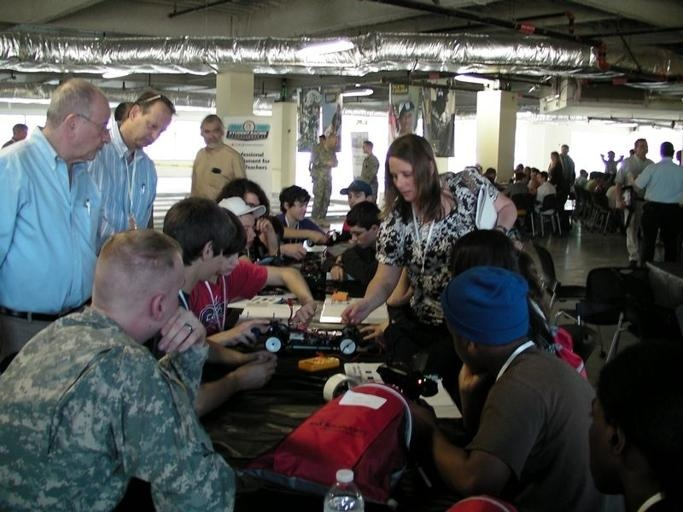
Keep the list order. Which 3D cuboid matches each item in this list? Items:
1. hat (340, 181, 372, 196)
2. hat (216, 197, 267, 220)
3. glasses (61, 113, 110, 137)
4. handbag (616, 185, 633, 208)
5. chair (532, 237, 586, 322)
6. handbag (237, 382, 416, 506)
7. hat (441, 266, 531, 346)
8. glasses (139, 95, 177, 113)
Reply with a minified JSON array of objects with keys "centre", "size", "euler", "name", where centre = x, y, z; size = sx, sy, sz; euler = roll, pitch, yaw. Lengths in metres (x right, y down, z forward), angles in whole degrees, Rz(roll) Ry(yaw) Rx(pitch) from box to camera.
[{"centre":[0.145,-0.624,5.080],"size":[0.226,0.124,0.167],"euler":[12,1,-4],"name":"hat"},{"centre":[-0.596,-0.308,3.349],"size":[0.229,0.101,0.164],"euler":[-2,15,-8],"name":"hat"},{"centre":[-1.081,-0.566,2.352],"size":[0.090,0.030,0.093],"euler":[20,0,7],"name":"glasses"},{"centre":[4.391,-0.928,8.605],"size":[0.265,0.126,0.402],"euler":[-16,35,29],"name":"handbag"},{"centre":[1.898,0.271,4.673],"size":[0.500,0.699,0.490],"euler":[6,11,42],"name":"chair"},{"centre":[-0.023,0.532,1.608],"size":[0.402,0.222,0.351],"euler":[4,12,23],"name":"handbag"},{"centre":[0.419,0.124,1.605],"size":[0.209,0.139,0.212],"euler":[22,45,40],"name":"hat"},{"centre":[-1.036,-0.854,3.074],"size":[0.106,0.033,0.110],"euler":[-10,6,10],"name":"glasses"}]
